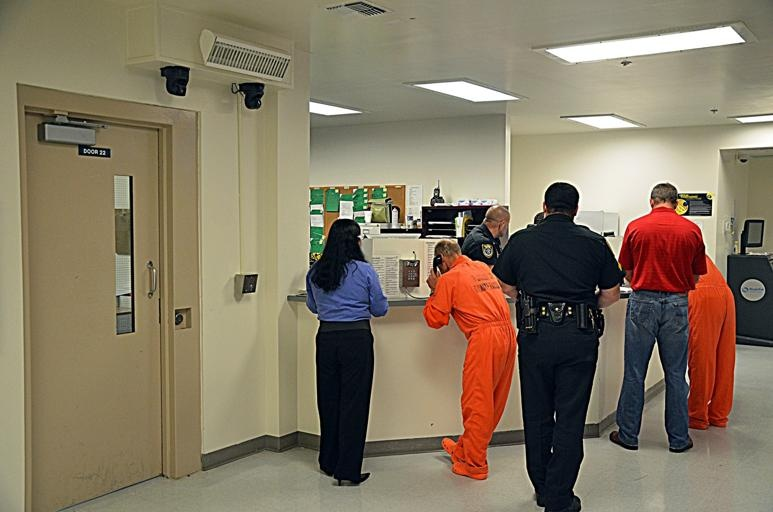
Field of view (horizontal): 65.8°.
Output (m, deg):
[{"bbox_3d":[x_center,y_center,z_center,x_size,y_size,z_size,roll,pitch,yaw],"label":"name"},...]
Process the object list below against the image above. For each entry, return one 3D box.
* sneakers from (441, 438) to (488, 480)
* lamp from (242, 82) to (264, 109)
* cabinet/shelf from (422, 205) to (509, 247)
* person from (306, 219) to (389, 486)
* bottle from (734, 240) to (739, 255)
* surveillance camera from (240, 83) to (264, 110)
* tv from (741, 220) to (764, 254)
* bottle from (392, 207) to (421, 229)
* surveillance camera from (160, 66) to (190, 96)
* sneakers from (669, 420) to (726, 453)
[{"bbox_3d":[0.670,1.789,5.307,0.162,0.202,0.470,-4,19,-24],"label":"sneakers"},{"bbox_3d":[-1.206,-1.437,5.408,0.208,0.242,0.211,-2,6,-11],"label":"lamp"},{"bbox_3d":[1.075,-0.434,8.182,0.686,0.646,0.226,3,7,19],"label":"cabinet/shelf"},{"bbox_3d":[-0.347,0.792,5.086,0.677,2.193,0.389,0,6,1],"label":"person"},{"bbox_3d":[6.691,-0.183,11.489,0.054,0.205,0.258,5,7,39],"label":"bottle"},{"bbox_3d":[-1.220,-1.452,5.512,0.209,0.241,0.216,-2,6,-4],"label":"surveillance camera"},{"bbox_3d":[6.663,-0.392,10.967,0.643,0.640,0.256,-3,3,-38],"label":"tv"},{"bbox_3d":[0.298,-0.662,10.311,0.549,0.393,0.443,-1,6,-11],"label":"bottle"},{"bbox_3d":[-1.709,-1.422,4.957,0.191,0.258,0.279,2,5,18],"label":"surveillance camera"},{"bbox_3d":[2.993,1.743,5.817,0.489,0.195,0.149,-19,22,-36],"label":"sneakers"}]
